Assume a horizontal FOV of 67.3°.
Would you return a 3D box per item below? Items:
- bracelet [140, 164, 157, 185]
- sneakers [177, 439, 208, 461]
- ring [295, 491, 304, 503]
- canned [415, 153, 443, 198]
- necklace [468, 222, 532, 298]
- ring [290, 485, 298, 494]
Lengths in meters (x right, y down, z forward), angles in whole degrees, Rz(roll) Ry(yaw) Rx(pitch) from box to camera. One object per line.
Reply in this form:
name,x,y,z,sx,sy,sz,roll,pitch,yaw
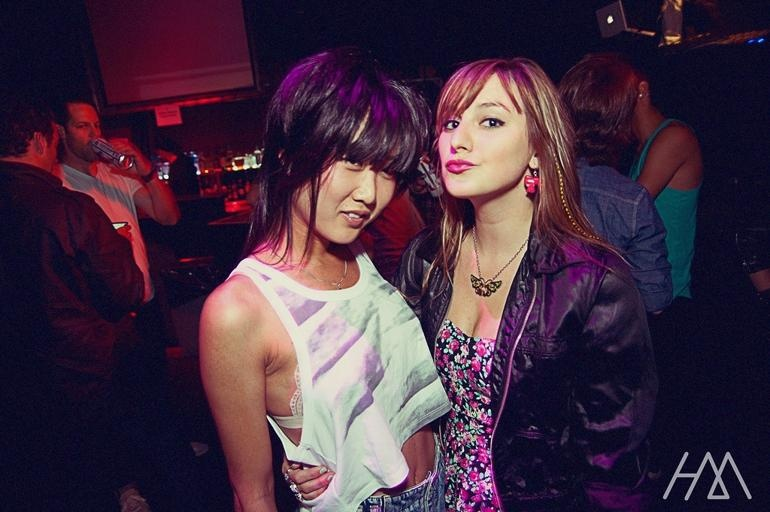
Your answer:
bracelet,-2.040,-0.695,5.015,0.135,0.140,0.133,-5,-20,-3
sneakers,-1.477,1.477,4.434,0.188,0.121,0.046,3,-9,-3
ring,-0.465,1.300,3.128,0.034,0.087,0.029,0,46,11
canned,0.273,-0.454,3.364,0.057,0.227,0.130,-7,35,27
necklace,0.678,0.029,3.362,0.338,0.432,0.037,15,7,26
ring,-0.492,1.237,3.076,0.034,0.055,0.014,-19,11,-2
